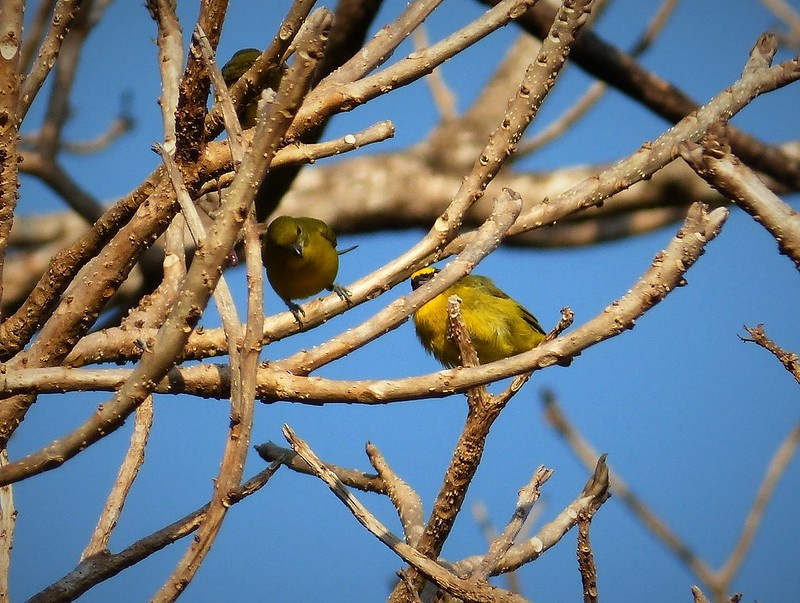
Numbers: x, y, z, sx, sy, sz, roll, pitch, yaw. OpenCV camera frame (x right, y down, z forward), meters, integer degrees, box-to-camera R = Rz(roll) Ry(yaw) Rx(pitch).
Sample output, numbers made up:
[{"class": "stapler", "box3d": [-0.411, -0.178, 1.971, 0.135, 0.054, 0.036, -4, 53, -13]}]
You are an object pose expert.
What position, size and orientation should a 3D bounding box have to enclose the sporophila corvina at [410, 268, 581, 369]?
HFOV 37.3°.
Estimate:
[{"class": "sporophila corvina", "box3d": [0.545, 0.092, 7.094, 0.870, 0.538, 0.675, -11, -72, 28]}]
